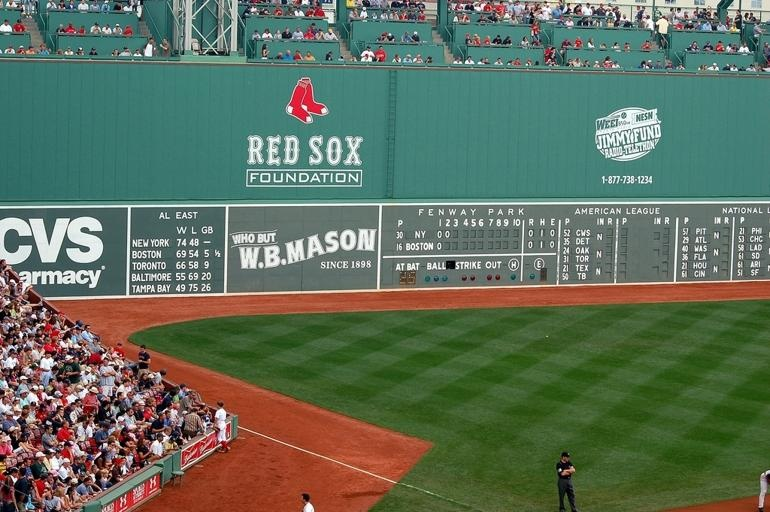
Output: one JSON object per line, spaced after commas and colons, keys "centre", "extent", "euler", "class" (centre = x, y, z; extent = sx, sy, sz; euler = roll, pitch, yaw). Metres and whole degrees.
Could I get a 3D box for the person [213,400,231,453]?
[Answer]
{"centre": [-5.630, 5.783, 44.103], "extent": [0.485, 1.671, 0.591], "euler": [-4, 5, -10], "class": "person"}
